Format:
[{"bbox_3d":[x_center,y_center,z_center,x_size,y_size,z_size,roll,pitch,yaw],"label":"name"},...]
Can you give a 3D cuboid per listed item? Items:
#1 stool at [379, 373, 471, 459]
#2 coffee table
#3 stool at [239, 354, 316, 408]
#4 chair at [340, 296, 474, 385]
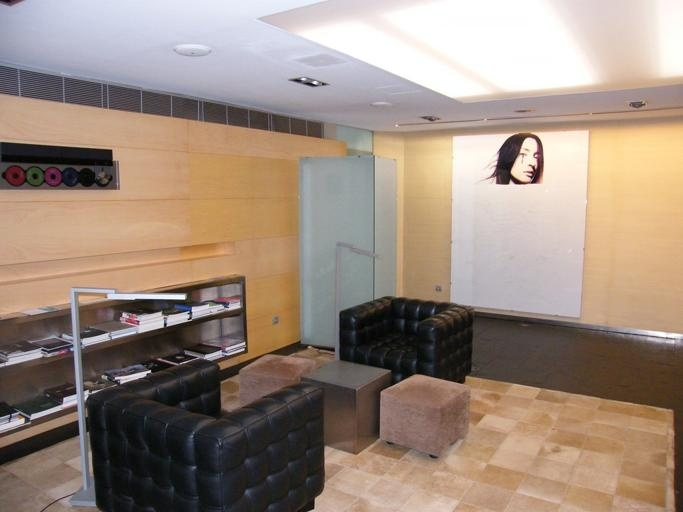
[{"bbox_3d":[0.809,1.451,4.895,0.735,0.499,0.717,2,5,34],"label":"stool"},{"bbox_3d":[0.029,1.413,5.274,0.922,0.811,0.921,4,7,33],"label":"coffee table"},{"bbox_3d":[-0.675,1.232,5.460,0.699,0.426,0.657,1,7,23],"label":"stool"},{"bbox_3d":[0.767,0.953,5.813,1.318,0.815,1.192,4,4,35],"label":"chair"}]
